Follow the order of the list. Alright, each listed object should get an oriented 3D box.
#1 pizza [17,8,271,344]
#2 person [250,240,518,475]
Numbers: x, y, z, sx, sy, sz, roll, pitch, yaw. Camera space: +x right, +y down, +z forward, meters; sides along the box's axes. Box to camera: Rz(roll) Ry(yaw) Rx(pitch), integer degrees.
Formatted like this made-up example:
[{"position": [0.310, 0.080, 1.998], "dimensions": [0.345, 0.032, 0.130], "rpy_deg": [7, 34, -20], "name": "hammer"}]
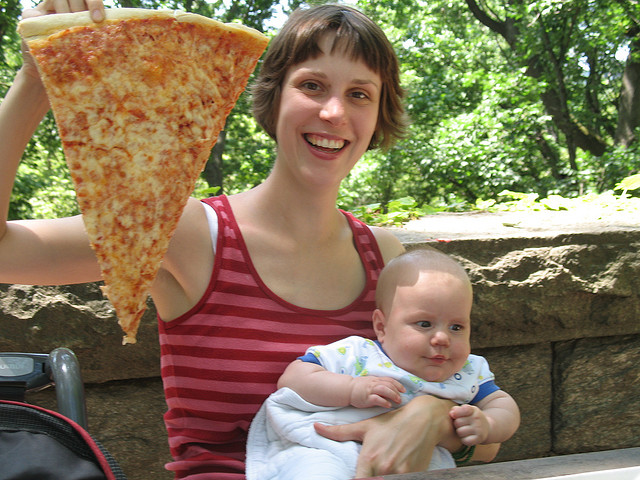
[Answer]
[{"position": [-0.642, -0.248, 2.309], "dimensions": [0.430, 1.114, 0.626], "rpy_deg": [12, 20, 34], "name": "pizza"}, {"position": [0.331, 0.490, 2.557], "dimensions": [0.727, 0.789, 0.966], "rpy_deg": [12, 18, 38], "name": "person"}]
